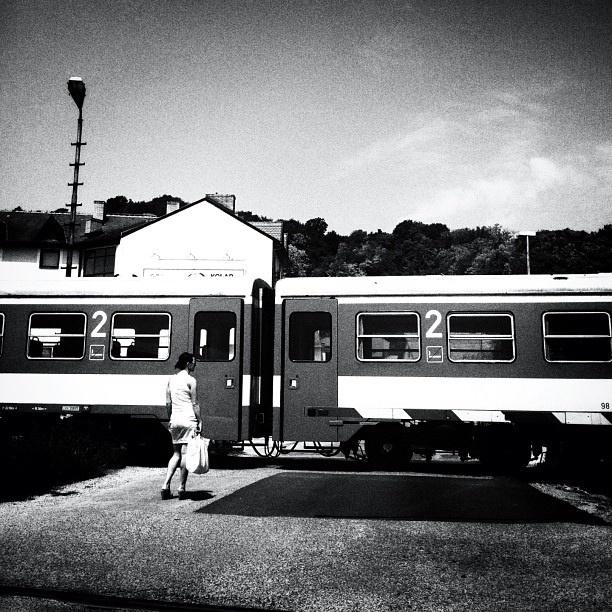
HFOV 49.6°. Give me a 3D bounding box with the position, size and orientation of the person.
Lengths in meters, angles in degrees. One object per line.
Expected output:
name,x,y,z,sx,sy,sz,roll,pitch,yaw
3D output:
person,-1.699,1.635,9.043,0.445,1.992,0.527,3,-5,-29

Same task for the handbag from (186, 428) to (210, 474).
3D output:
handbag,-1.465,1.959,8.870,0.303,0.556,0.313,2,-5,-13
